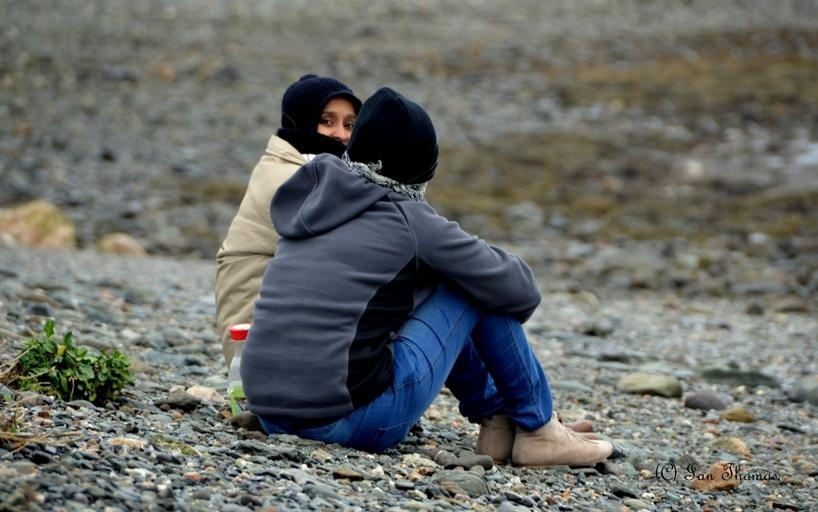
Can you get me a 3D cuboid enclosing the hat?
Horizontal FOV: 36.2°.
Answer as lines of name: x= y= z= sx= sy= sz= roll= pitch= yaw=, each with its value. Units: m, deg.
hat: x=-0.434 y=-1.070 z=10.133 sx=1.476 sy=0.655 sz=0.848 roll=17 pitch=17 yaw=9
